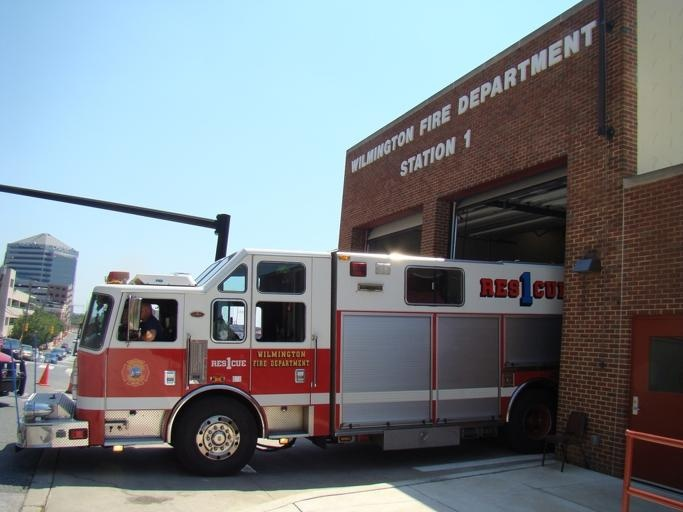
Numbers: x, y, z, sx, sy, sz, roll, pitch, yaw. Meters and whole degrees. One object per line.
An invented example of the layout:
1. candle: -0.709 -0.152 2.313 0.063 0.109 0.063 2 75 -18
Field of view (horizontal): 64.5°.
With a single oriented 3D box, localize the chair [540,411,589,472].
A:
1. chair: 4.116 3.368 9.930 0.782 0.935 0.691 11 -12 -43
